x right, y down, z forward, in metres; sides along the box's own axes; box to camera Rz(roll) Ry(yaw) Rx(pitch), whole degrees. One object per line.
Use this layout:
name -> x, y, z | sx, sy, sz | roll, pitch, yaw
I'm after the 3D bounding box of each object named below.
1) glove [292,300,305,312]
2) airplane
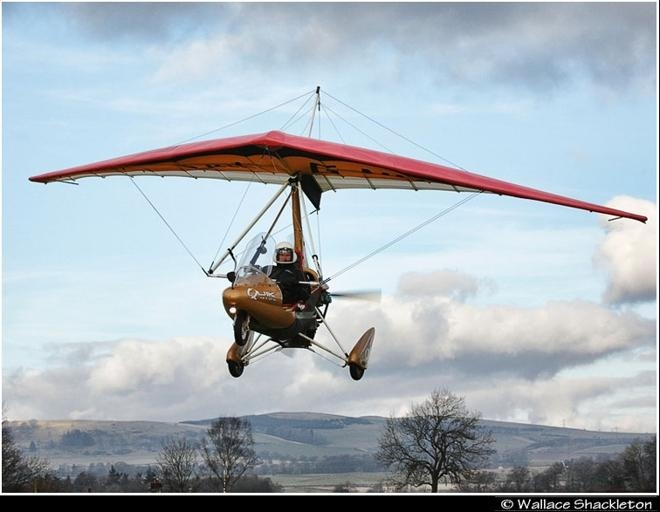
glove -> -1.237, 2.059, 42.119 | 0.596, 0.414, 0.118 | 0, -12, 6
airplane -> -0.899, -1.052, 37.937 | 16.998, 5.890, 13.607 | 2, 1, 12
